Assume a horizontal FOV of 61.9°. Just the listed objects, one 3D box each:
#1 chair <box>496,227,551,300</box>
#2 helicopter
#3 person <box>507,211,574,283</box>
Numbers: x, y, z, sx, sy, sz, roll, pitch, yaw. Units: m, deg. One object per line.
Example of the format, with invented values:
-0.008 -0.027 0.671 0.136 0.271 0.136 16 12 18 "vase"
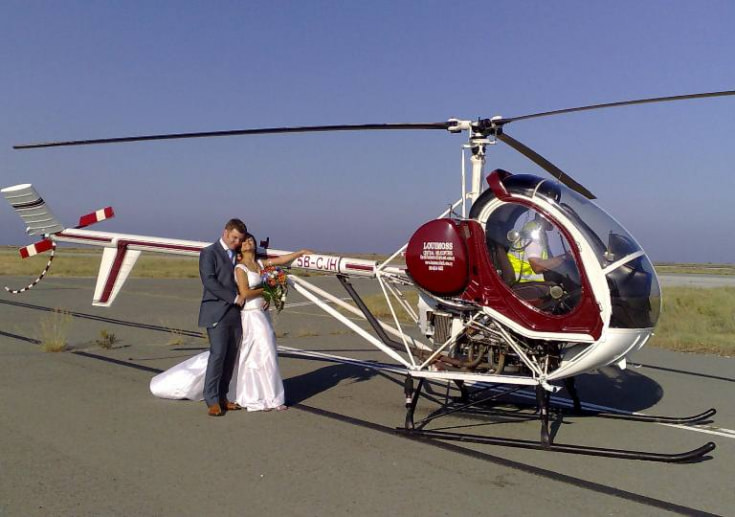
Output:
2.533 0.058 9.458 0.967 1.044 0.599 -5 -1 44 "chair"
0.775 0.451 11.179 8.202 2.912 7.049 -1 -1 22 "helicopter"
2.728 -0.107 9.508 0.931 1.178 0.989 -1 7 8 "person"
